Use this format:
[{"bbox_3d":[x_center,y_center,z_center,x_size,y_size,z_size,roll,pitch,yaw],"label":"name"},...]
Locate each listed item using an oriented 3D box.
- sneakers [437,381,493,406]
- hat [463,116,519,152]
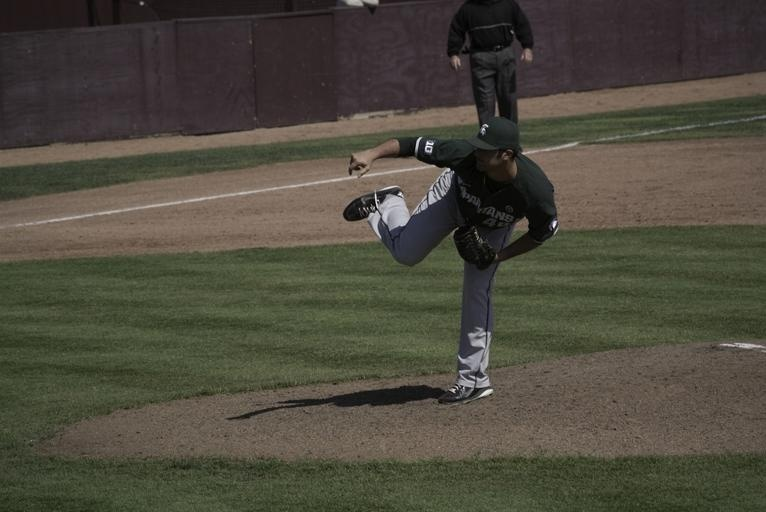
[{"bbox_3d":[1.070,1.766,18.270,0.670,0.253,0.269,-3,6,-9],"label":"sneakers"},{"bbox_3d":[1.396,-1.532,17.532,0.564,0.284,0.392,4,16,-3],"label":"hat"}]
